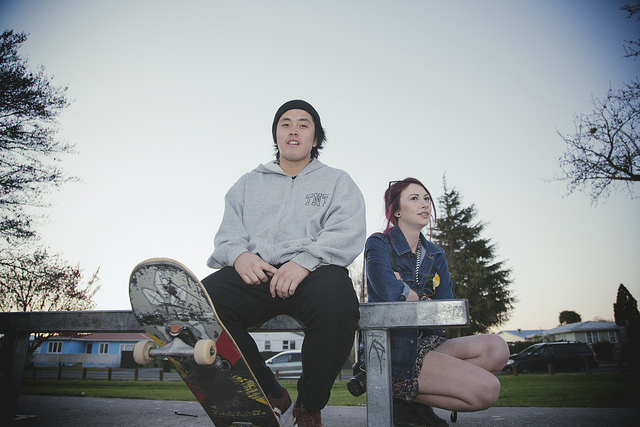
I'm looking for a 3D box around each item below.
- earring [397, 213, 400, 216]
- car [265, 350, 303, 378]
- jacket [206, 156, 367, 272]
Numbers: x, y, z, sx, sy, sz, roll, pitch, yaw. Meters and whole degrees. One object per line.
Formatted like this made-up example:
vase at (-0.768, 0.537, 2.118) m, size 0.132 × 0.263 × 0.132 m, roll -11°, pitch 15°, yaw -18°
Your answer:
earring at (1.222, 0.013, 7.236) m, size 0.026 × 0.038 × 0.015 m, roll -7°, pitch -14°, yaw 25°
car at (-1.978, 8.545, 26.394) m, size 1.739 × 1.411 × 1.264 m, roll -1°, pitch -13°, yaw 1°
jacket at (-0.408, 0.015, 6.678) m, size 2.075 × 1.684 × 0.415 m, roll -3°, pitch -12°, yaw 8°
